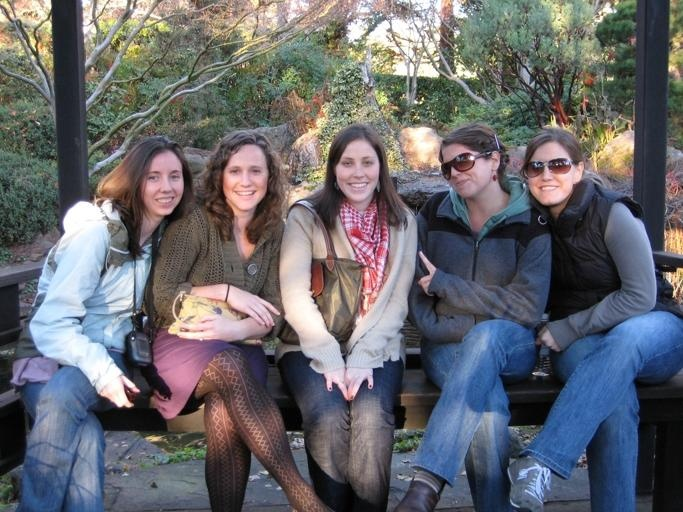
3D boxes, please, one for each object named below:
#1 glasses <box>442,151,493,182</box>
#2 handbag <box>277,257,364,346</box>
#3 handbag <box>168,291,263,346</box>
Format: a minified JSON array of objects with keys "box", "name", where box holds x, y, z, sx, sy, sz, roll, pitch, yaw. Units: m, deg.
[{"box":[0.704,-0.539,3.400,0.176,0.080,0.213,-20,-3,36],"name":"glasses"},{"box":[-0.115,0.269,3.293,0.399,0.443,0.250,6,-18,17],"name":"handbag"},{"box":[-0.664,0.350,3.157,0.391,0.285,0.129,12,-33,-21],"name":"handbag"}]
